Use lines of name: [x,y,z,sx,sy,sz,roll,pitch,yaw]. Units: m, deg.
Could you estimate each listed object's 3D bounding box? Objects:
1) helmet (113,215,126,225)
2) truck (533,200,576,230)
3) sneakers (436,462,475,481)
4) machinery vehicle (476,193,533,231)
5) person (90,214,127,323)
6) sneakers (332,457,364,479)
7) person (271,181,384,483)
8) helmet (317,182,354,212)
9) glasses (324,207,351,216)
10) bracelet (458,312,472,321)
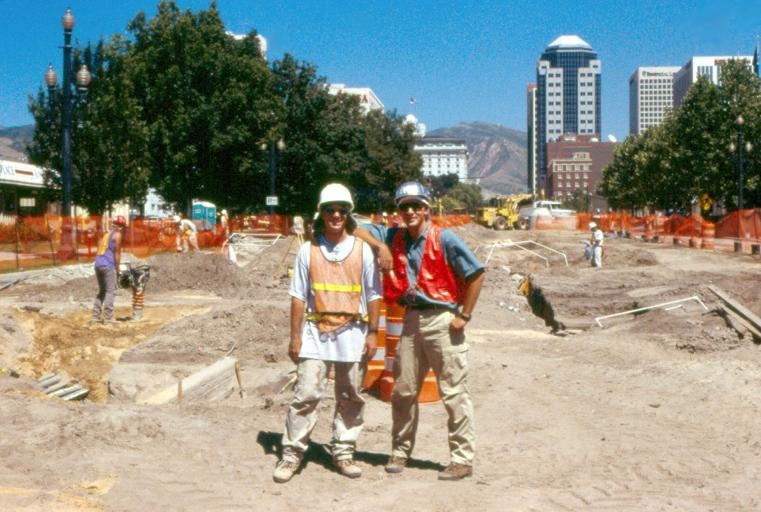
helmet: [-5.609,-0.764,18.602,0.144,0.232,0.454,1,10,2]
truck: [13.171,-3.358,67.551,3.327,1.993,2.306,-1,0,38]
sneakers: [1.044,3.014,12.094,0.415,0.213,0.225,2,0,1]
machinery vehicle: [9.640,-3.395,66.164,4.180,3.028,2.402,-2,6,-10]
person: [-5.938,0.247,18.843,0.704,2.323,0.764,-2,10,-20]
sneakers: [-0.458,2.943,12.016,0.203,0.196,0.418,4,-3,-37]
person: [-0.675,1.061,11.890,1.307,3.971,0.834,1,9,-2]
helmet: [-0.622,-0.937,12.231,0.463,0.367,0.622,3,-5,-3]
glasses: [-0.622,-0.629,11.936,0.350,0.102,0.085,0,9,-7]
bracelet: [1.154,0.822,11.984,0.165,0.125,0.202,2,10,2]
